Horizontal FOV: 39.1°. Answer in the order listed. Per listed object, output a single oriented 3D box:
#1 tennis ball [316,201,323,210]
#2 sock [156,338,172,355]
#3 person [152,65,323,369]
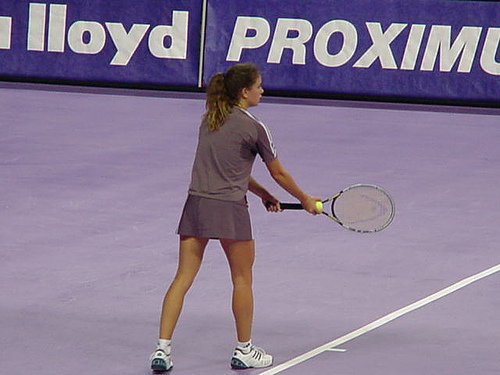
[{"bbox_3d":[0.531,0.141,5.388,0.053,0.040,0.053,-1,1,0],"label":"tennis ball"},{"bbox_3d":[-0.623,1.153,5.096,0.054,0.106,0.154,7,20,-2],"label":"sock"},{"bbox_3d":[-0.172,0.216,5.254,1.049,2.227,0.375,-1,-8,4],"label":"person"}]
